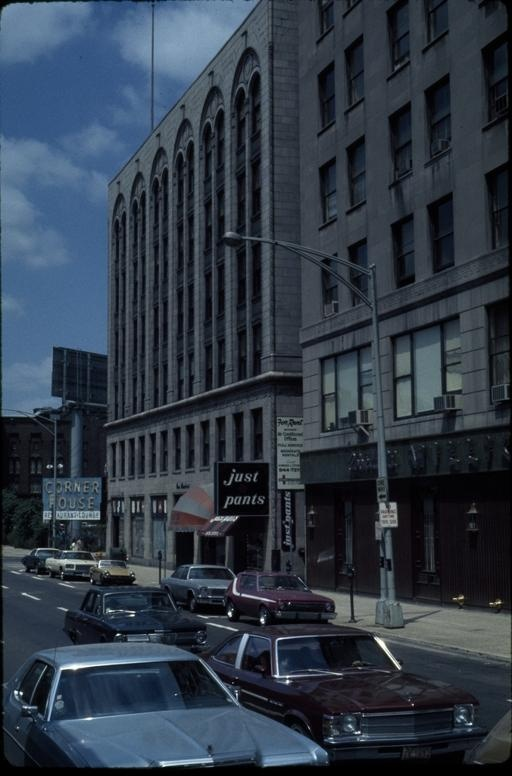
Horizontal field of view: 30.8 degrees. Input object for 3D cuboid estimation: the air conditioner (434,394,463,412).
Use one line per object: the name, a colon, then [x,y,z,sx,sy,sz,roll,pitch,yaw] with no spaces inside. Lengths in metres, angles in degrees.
air conditioner: [5.176,0.413,25.149,0.416,0.382,0.447,4,-8,-34]

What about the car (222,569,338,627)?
car: [0.483,4.989,21.923,1.622,1.178,3.154,7,-10,-29]

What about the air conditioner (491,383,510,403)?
air conditioner: [6.098,0.118,23.050,0.220,0.490,0.905,3,-8,-15]

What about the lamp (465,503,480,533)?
lamp: [5.629,3.406,24.326,0.161,0.787,0.629,3,-7,-12]

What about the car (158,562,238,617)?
car: [-1.663,5.492,26.215,1.224,1.233,3.010,5,-16,-22]

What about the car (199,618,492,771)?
car: [0.693,2.823,8.750,1.059,0.830,2.308,4,-16,-21]

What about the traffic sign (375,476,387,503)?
traffic sign: [2.923,2.376,21.654,0.197,0.587,0.470,4,-7,-23]
